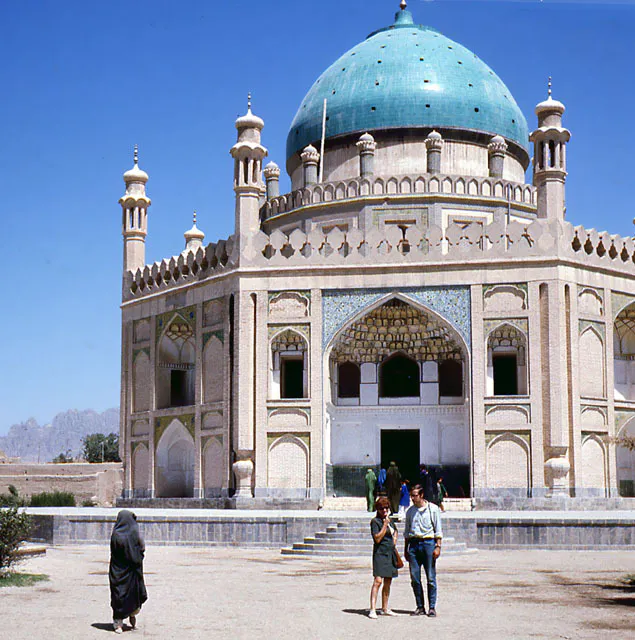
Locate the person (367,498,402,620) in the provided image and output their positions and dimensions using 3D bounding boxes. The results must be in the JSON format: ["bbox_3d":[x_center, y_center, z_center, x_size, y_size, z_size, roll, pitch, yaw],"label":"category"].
[{"bbox_3d":[0.642,2.318,13.502,0.335,1.163,0.974,-2,-10,2],"label":"person"}]

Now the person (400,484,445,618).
[{"bbox_3d":[1.023,2.242,13.409,0.339,1.272,0.576,-2,-9,2],"label":"person"}]

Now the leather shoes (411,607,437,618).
[{"bbox_3d":[1.010,2.798,13.132,0.233,0.113,0.084,7,-12,0],"label":"leather shoes"}]

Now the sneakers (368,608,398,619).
[{"bbox_3d":[0.618,2.796,13.090,0.273,0.124,0.099,-2,-6,0],"label":"sneakers"}]

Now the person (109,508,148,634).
[{"bbox_3d":[-1.699,2.286,12.578,0.315,1.094,0.354,1,-10,-13],"label":"person"}]
